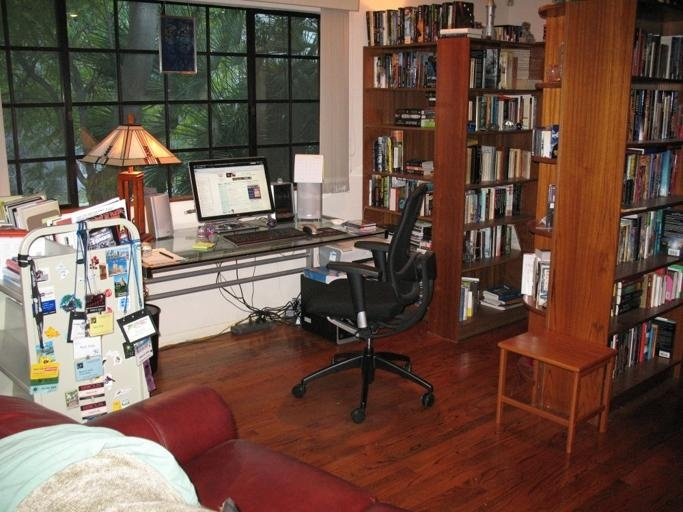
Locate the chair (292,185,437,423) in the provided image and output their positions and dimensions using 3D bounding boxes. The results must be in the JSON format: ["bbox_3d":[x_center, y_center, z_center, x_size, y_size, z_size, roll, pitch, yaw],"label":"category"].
[{"bbox_3d":[0.180,0.262,3.392,0.939,1.276,0.983,4,11,28],"label":"chair"}]

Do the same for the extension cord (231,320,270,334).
[{"bbox_3d":[-0.760,0.590,4.369,0.321,0.076,0.164,-13,18,-27],"label":"extension cord"}]

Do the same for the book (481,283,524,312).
[{"bbox_3d":[1.412,0.362,4.550,0.277,0.076,0.197,-9,16,-39],"label":"book"}]

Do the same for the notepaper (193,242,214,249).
[{"bbox_3d":[-0.897,-0.061,3.396,0.127,0.028,0.089,-7,16,-8],"label":"notepaper"}]

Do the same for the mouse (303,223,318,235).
[{"bbox_3d":[-0.213,-0.192,3.824,0.099,0.028,0.100,14,4,-42],"label":"mouse"}]

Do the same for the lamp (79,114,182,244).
[{"bbox_3d":[-1.448,-0.505,3.596,0.684,0.758,0.653,2,14,2],"label":"lamp"}]
